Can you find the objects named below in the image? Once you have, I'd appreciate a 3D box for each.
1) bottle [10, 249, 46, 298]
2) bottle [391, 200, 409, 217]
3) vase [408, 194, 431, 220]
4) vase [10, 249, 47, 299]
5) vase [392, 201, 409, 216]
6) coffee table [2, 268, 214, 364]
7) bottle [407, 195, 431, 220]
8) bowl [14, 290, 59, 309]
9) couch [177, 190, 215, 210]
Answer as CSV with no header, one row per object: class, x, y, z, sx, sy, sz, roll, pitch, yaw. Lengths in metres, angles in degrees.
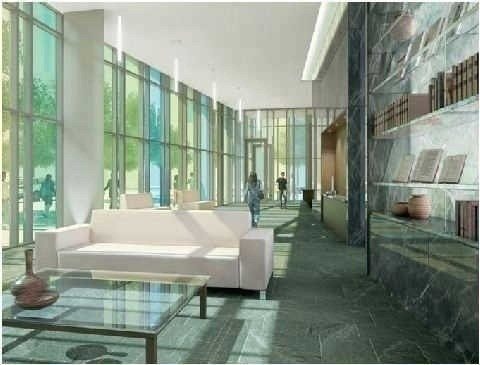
bottle,-2.241,0.957,4.031,0.330,0.513,0.325,1,-2,0
bottle,2.195,0.344,5.218,0.193,0.162,0.196,0,1,-26
vase,2.303,0.308,4.884,0.265,0.365,0.297,-1,-8,18
vase,-2.246,0.970,4.046,0.326,0.523,0.343,-3,-7,2
vase,2.211,0.347,5.218,0.189,0.153,0.193,0,1,-21
coffee table,-1.414,1.326,3.962,1.807,0.393,1.324,2,8,17
bottle,2.353,0.306,4.995,0.266,0.360,0.282,-7,3,0
bowl,-2.066,1.172,3.843,0.416,0.087,0.317,-3,8,-20
couch,-1.344,0.553,11.881,1.024,0.571,1.636,-4,8,-26
